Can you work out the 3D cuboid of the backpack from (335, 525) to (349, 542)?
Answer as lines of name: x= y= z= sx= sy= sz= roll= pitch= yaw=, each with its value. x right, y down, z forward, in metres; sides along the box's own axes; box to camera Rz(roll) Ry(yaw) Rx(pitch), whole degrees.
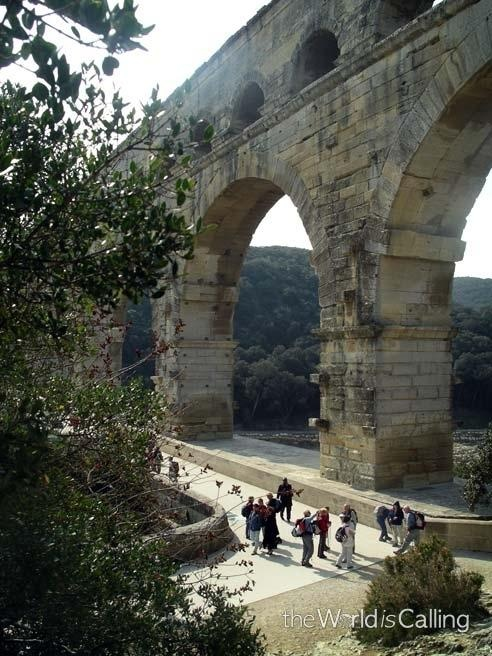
backpack: x=0.996 y=2.163 z=6.724 sx=0.123 sy=0.164 sz=0.181 roll=-15 pitch=-14 yaw=38

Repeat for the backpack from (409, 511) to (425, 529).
backpack: x=1.800 y=2.019 z=6.731 sx=0.211 sy=0.175 sz=0.153 roll=2 pitch=-7 yaw=13
